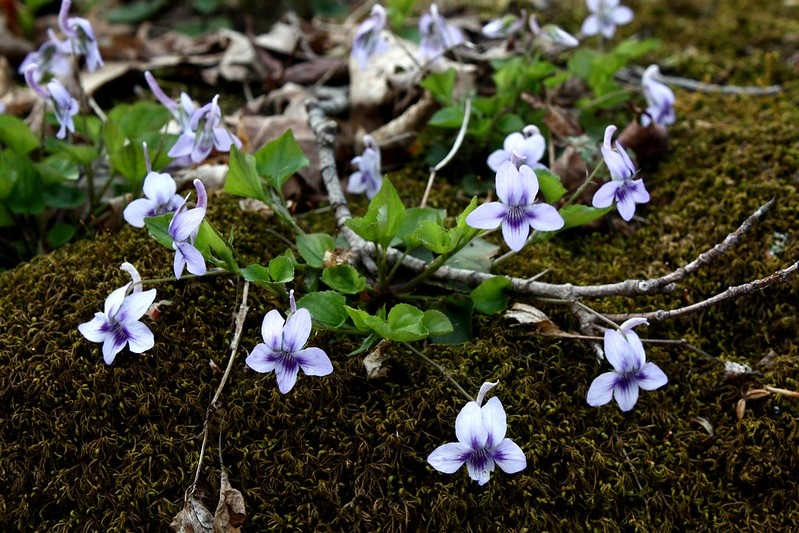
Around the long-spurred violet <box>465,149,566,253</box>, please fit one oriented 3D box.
[{"bbox_3d":[0.454,-0.258,2.838,0.334,0.369,0.071,2,7,-9],"label":"long-spurred violet"}]

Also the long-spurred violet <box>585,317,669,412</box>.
[{"bbox_3d":[0.863,0.412,2.878,0.322,0.369,0.142,-5,14,-26],"label":"long-spurred violet"}]

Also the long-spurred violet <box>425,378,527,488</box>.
[{"bbox_3d":[0.327,0.644,2.802,0.339,0.132,0.407,9,58,9],"label":"long-spurred violet"}]

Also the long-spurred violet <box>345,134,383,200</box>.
[{"bbox_3d":[-0.153,-0.455,3.568,0.162,0.055,0.380,10,58,-15],"label":"long-spurred violet"}]

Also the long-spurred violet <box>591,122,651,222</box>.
[{"bbox_3d":[0.882,-0.359,3.024,0.093,0.215,0.339,-9,37,-38],"label":"long-spurred violet"}]

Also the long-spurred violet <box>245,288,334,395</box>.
[{"bbox_3d":[-0.420,0.269,2.901,0.303,0.403,0.120,3,6,-1],"label":"long-spurred violet"}]

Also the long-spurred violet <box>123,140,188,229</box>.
[{"bbox_3d":[-1.031,-0.324,3.050,0.276,0.383,0.130,-9,12,-24],"label":"long-spurred violet"}]

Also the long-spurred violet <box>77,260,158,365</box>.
[{"bbox_3d":[-1.050,0.219,2.839,0.297,0.168,0.237,-38,59,-23],"label":"long-spurred violet"}]
